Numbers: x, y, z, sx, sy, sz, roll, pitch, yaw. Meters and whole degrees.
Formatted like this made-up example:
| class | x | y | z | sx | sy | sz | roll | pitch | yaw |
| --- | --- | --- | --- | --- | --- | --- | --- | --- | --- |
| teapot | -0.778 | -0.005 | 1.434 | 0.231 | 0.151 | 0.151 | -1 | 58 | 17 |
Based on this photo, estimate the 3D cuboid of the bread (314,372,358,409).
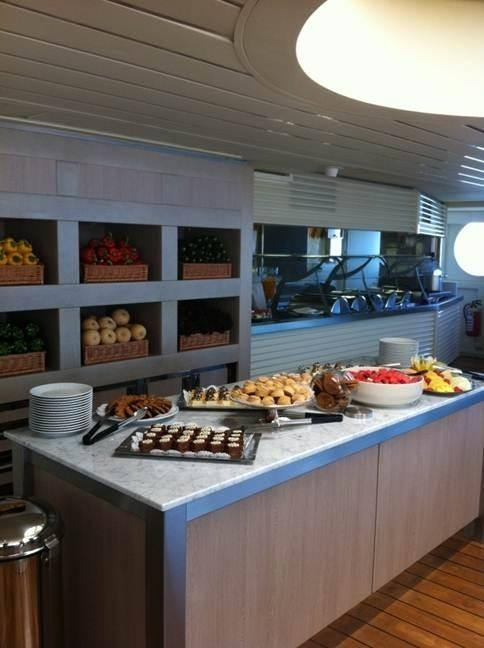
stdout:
| class | x | y | z | sx | sy | sz | roll | pitch | yaw |
| --- | --- | --- | --- | --- | --- | --- | --- | --- | --- |
| bread | 0.346 | 0.255 | 1.914 | 0.155 | 0.145 | 0.065 | 4 | 8 | 9 |

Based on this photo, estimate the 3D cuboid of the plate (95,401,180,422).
| class | x | y | z | sx | sy | sz | roll | pitch | yaw |
| --- | --- | --- | --- | --- | --- | --- | --- | --- | --- |
| plate | -0.363 | 0.296 | 1.838 | 0.231 | 0.050 | 0.202 | 2 | 6 | 13 |

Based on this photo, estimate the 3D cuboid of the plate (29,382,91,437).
| class | x | y | z | sx | sy | sz | roll | pitch | yaw |
| --- | --- | --- | --- | --- | --- | --- | --- | --- | --- |
| plate | -0.584 | 0.249 | 1.669 | 0.182 | 0.166 | 0.183 | 11 | 12 | 34 |

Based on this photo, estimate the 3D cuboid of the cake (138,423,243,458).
| class | x | y | z | sx | sy | sz | roll | pitch | yaw |
| --- | --- | --- | --- | --- | --- | --- | --- | --- | --- |
| cake | -0.146 | 0.340 | 1.514 | 0.320 | 0.042 | 0.202 | 3 | 8 | 7 |

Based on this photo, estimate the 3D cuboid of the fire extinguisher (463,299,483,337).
| class | x | y | z | sx | sy | sz | roll | pitch | yaw |
| --- | --- | --- | --- | --- | --- | --- | --- | --- | --- |
| fire extinguisher | 3.713 | -0.080 | 8.181 | 0.305 | 0.606 | 0.264 | 6 | 9 | 22 |

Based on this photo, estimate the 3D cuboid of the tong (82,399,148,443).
| class | x | y | z | sx | sy | sz | roll | pitch | yaw |
| --- | --- | --- | --- | --- | --- | --- | --- | --- | --- |
| tong | -0.419 | 0.319 | 1.621 | 0.066 | 0.048 | 0.222 | 8 | 13 | 28 |

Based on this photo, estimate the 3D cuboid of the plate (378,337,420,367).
| class | x | y | z | sx | sy | sz | roll | pitch | yaw |
| --- | --- | --- | --- | --- | --- | --- | --- | --- | --- |
| plate | 0.868 | 0.146 | 2.833 | 0.170 | 0.100 | 0.164 | 1 | 9 | 13 |

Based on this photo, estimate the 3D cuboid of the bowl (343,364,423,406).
| class | x | y | z | sx | sy | sz | roll | pitch | yaw |
| --- | --- | --- | --- | --- | --- | --- | --- | --- | --- |
| bowl | 0.595 | 0.218 | 2.055 | 0.230 | 0.089 | 0.210 | -2 | 9 | 0 |

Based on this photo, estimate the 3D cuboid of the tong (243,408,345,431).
| class | x | y | z | sx | sy | sz | roll | pitch | yaw |
| --- | --- | --- | --- | --- | --- | --- | --- | --- | --- |
| tong | 0.197 | 0.333 | 1.784 | 0.329 | 0.051 | 0.112 | -3 | 8 | -15 |

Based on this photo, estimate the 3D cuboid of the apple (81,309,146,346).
| class | x | y | z | sx | sy | sz | roll | pitch | yaw |
| --- | --- | --- | --- | --- | --- | --- | --- | --- | --- |
| apple | -0.843 | 0.024 | 3.323 | 0.210 | 0.221 | 0.412 | 12 | 11 | 43 |

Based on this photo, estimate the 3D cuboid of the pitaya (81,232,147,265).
| class | x | y | z | sx | sy | sz | roll | pitch | yaw |
| --- | --- | --- | --- | --- | --- | --- | --- | --- | --- |
| pitaya | -0.882 | -0.466 | 3.355 | 0.260 | 0.152 | 0.325 | 0 | 4 | -23 |

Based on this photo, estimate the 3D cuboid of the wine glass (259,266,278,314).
| class | x | y | z | sx | sy | sz | roll | pitch | yaw |
| --- | --- | --- | --- | --- | --- | --- | --- | --- | --- |
| wine glass | 0.233 | -0.296 | 4.184 | 0.112 | 0.355 | 0.198 | 6 | 9 | 22 |

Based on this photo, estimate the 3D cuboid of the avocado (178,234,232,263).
| class | x | y | z | sx | sy | sz | roll | pitch | yaw |
| --- | --- | --- | --- | --- | --- | --- | --- | --- | --- |
| avocado | -0.356 | -0.566 | 3.867 | 0.303 | 0.244 | 0.460 | 9 | 11 | 39 |

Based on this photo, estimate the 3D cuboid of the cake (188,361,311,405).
| class | x | y | z | sx | sy | sz | roll | pitch | yaw |
| --- | --- | --- | --- | --- | --- | --- | --- | --- | --- |
| cake | 0.052 | 0.242 | 1.989 | 0.390 | 0.102 | 0.341 | 6 | 5 | 9 |
